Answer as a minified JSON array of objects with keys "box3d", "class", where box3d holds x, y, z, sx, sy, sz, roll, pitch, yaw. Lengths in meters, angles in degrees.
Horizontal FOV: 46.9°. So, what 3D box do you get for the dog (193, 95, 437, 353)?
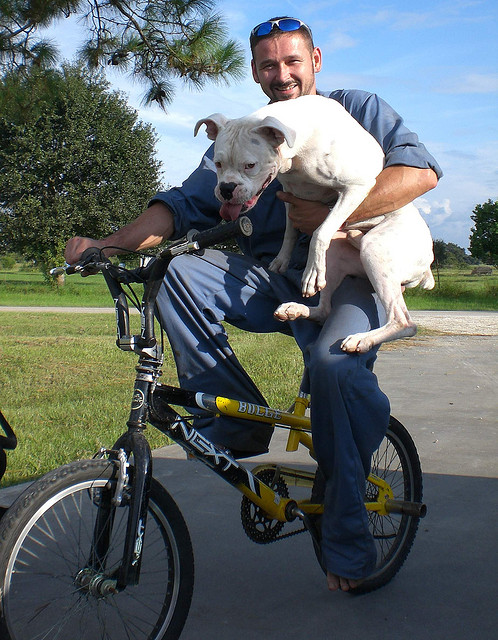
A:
[{"box3d":[0.339,-0.473,2.708,0.596,0.939,1.462,12,11,38],"class":"dog"}]
